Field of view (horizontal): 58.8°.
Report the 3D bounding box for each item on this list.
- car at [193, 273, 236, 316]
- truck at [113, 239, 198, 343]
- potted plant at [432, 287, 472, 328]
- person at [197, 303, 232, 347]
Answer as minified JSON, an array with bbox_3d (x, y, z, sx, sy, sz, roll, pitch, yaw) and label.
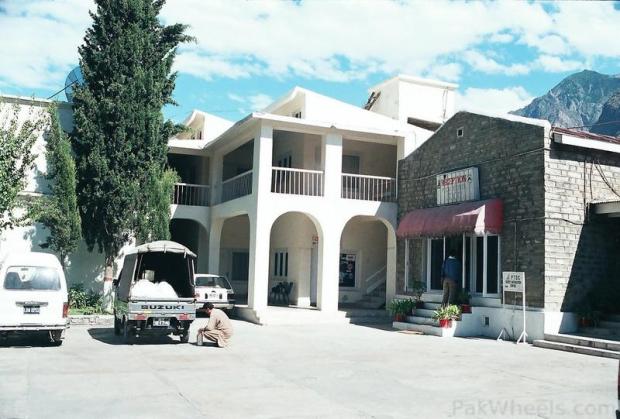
[{"bbox_3d":[-4.412,3.666,24.581,1.886,1.441,3.311,2,-1,-19],"label":"car"},{"bbox_3d":[-5.609,2.870,19.170,2.355,2.939,4.615,4,-7,-28],"label":"truck"},{"bbox_3d":[5.382,3.694,20.820,1.297,0.974,1.319,-4,-4,1],"label":"potted plant"},{"bbox_3d":[-3.093,3.671,17.589,0.958,1.372,1.041,-2,-1,40],"label":"person"}]
